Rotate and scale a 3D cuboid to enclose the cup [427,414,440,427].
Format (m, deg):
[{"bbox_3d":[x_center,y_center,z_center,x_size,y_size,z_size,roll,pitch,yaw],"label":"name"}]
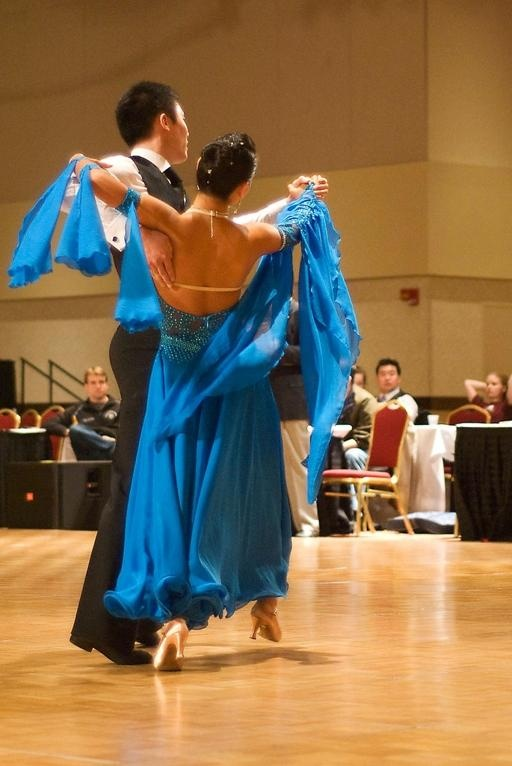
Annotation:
[{"bbox_3d":[1.698,0.357,7.524,0.130,0.094,0.130,-1,-7,0],"label":"cup"}]

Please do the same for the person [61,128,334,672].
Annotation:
[{"bbox_3d":[-0.147,0.027,1.937,0.647,1.317,0.285,4,-7,-45],"label":"person"}]

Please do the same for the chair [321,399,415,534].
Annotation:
[{"bbox_3d":[1.052,0.788,7.053,0.690,1.143,1.229,-3,-6,17],"label":"chair"}]

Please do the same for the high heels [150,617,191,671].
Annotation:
[{"bbox_3d":[-0.194,0.593,1.784,0.078,0.113,0.157,0,-6,-8],"label":"high heels"}]

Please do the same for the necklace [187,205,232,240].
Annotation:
[{"bbox_3d":[-0.112,-0.374,1.834,0.101,0.071,0.008,15,-39,-16],"label":"necklace"}]
